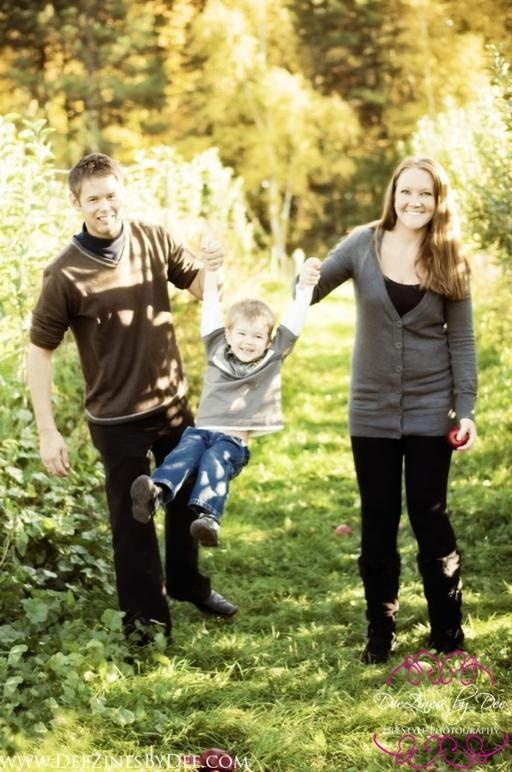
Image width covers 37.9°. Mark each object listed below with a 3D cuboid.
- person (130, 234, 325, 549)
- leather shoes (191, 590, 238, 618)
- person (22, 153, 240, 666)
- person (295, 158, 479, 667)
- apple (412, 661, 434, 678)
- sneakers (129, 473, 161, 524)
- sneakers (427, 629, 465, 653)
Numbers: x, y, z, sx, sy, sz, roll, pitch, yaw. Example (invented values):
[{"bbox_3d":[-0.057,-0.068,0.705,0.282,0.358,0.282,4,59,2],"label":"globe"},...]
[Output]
[{"bbox_3d":[-0.091,-0.070,3.066,0.680,0.794,1.312,13,49,15],"label":"person"},{"bbox_3d":[-0.185,1.022,3.520,0.243,0.090,0.101,17,15,-8],"label":"leather shoes"},{"bbox_3d":[-0.414,0.086,2.978,0.870,1.903,0.671,-15,13,-32],"label":"person"},{"bbox_3d":[0.564,0.132,2.884,0.601,1.964,0.405,-5,12,14],"label":"person"},{"bbox_3d":[0.633,1.075,2.827,0.062,0.052,0.059,-11,-8,41],"label":"apple"},{"bbox_3d":[-0.417,0.413,2.721,0.103,0.193,0.087,-9,30,-21],"label":"sneakers"},{"bbox_3d":[0.778,1.019,3.041,0.124,0.107,0.119,-1,-1,6],"label":"sneakers"}]
